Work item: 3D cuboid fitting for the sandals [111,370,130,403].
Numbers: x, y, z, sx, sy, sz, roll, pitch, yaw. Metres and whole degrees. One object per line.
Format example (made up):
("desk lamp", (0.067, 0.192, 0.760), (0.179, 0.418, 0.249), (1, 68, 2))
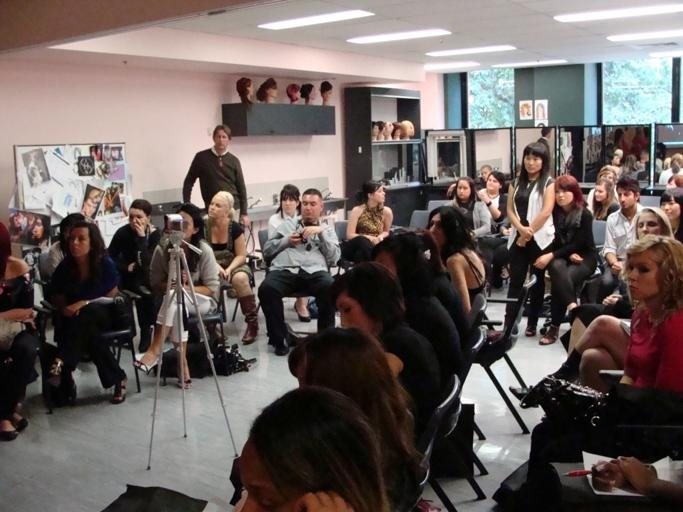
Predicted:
("sandals", (-1.829, 1.083, 4.254), (0.097, 0.109, 0.293), (-3, 44, -4))

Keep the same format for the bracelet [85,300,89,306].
("bracelet", (-2.075, 0.383, 4.253), (0.036, 0.009, 0.036), (-32, 33, 20))

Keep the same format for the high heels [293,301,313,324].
("high heels", (-0.453, 0.654, 6.264), (0.115, 0.107, 0.375), (-6, 18, -18))

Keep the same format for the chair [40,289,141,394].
("chair", (-1.944, 0.755, 4.469), (0.676, 0.901, 0.765), (0, -9, -9))

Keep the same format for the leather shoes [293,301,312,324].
("leather shoes", (-0.455, 0.662, 6.249), (0.108, 0.102, 0.359), (-9, 21, -20))

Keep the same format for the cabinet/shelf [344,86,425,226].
("cabinet/shelf", (1.033, -2.068, 11.340), (1.667, 2.898, 0.689), (-12, 12, -40))

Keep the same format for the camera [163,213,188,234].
("camera", (-1.086, -0.210, 3.399), (0.139, 0.143, 0.100), (-4, 11, -23))

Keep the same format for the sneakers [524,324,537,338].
("sneakers", (2.018, 0.798, 5.535), (0.103, 0.113, 0.267), (-2, -7, 20))

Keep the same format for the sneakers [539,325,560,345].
("sneakers", (2.123, 0.812, 5.312), (0.120, 0.151, 0.371), (0, 1, 28))

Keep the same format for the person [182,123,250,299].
("person", (-1.808, -0.641, 7.384), (0.950, 2.418, 0.568), (-2, 8, -30))
